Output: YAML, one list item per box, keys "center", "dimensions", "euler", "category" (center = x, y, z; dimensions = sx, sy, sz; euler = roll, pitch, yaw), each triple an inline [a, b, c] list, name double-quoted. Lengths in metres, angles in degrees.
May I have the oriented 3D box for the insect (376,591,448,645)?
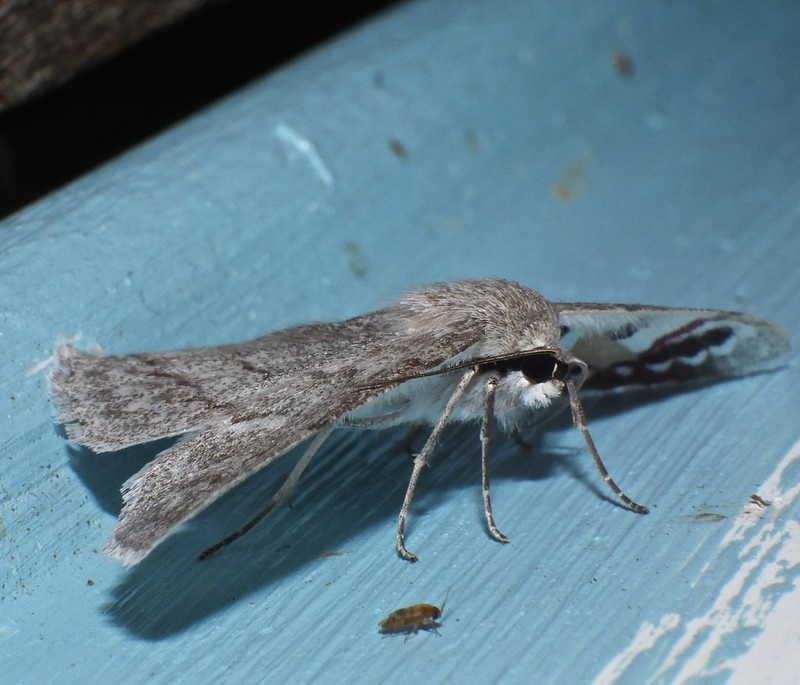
- center: [0.021, 0.494, 1.602]
  dimensions: [0.116, 0.031, 0.060]
  euler: [-5, 16, -3]
  category: "insect"
